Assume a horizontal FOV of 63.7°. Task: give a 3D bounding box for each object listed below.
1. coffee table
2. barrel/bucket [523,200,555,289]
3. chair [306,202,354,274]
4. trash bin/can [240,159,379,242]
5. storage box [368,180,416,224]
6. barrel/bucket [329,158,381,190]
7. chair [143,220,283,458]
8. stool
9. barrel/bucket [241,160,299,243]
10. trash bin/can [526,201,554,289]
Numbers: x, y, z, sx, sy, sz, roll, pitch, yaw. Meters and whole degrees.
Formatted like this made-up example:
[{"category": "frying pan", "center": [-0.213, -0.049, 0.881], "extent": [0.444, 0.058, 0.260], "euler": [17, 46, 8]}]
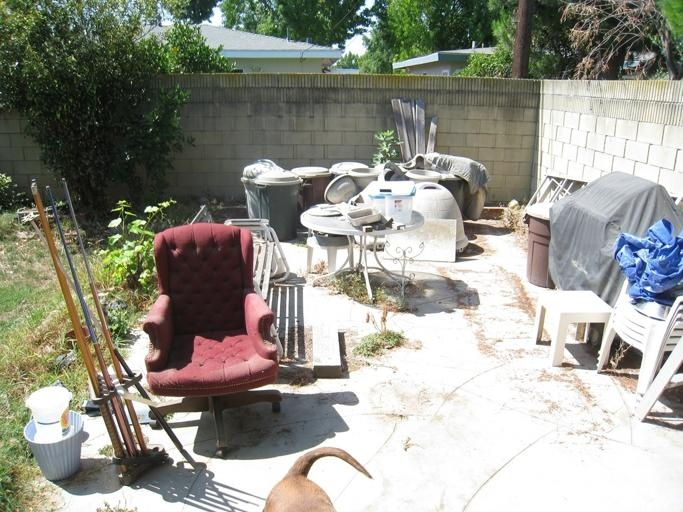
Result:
[{"category": "coffee table", "center": [0.332, -0.188, 7.613], "extent": [1.559, 1.140, 1.603], "euler": [4, 21, 19]}, {"category": "barrel/bucket", "center": [2.665, -0.155, 7.575], "extent": [0.441, 1.124, 0.474], "euler": [2, 15, -1]}, {"category": "chair", "center": [-0.198, -0.307, 7.792], "extent": [0.757, 1.030, 0.879], "euler": [-3, 35, -9]}, {"category": "trash bin/can", "center": [-1.033, -1.007, 9.780], "extent": [1.370, 1.586, 1.372], "euler": [-1, 12, -6]}, {"category": "storage box", "center": [0.714, -0.752, 7.401], "extent": [0.462, 0.667, 0.578], "euler": [-6, 17, -28]}, {"category": "barrel/bucket", "center": [0.223, -1.474, 9.732], "extent": [0.628, 0.302, 0.595], "euler": [1, 13, 0]}, {"category": "chair", "center": [-1.209, 0.720, 5.105], "extent": [1.014, 1.833, 1.431], "euler": [-4, 13, -19]}, {"category": "stool", "center": [2.443, 0.774, 5.984], "extent": [0.664, 0.744, 0.736], "euler": [-6, 31, -4]}, {"category": "barrel/bucket", "center": [-1.228, -1.034, 9.660], "extent": [1.148, 1.320, 1.119], "euler": [1, 16, 0]}, {"category": "trash bin/can", "center": [2.562, -0.125, 7.559], "extent": [0.413, 1.149, 0.456], "euler": [3, 15, 1]}]
